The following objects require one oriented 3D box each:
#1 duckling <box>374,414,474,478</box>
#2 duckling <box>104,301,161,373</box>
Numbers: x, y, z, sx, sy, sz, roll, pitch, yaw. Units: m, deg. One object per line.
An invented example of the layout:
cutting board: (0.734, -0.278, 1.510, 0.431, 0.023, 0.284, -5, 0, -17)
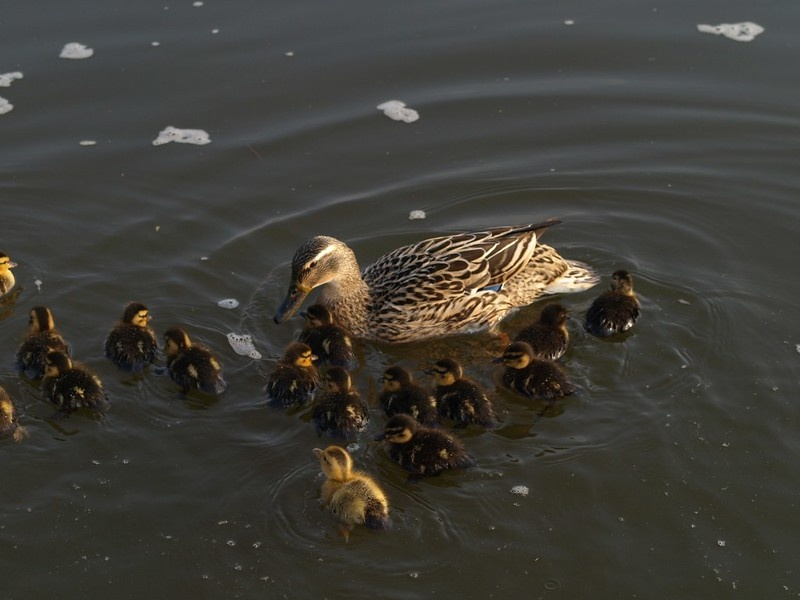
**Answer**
duckling: (0.210, 1.368, 8.725, 0.512, 0.379, 0.733, -38, 66, -15)
duckling: (-2.838, 0.374, 9.820, 0.566, 0.425, 0.593, 13, 47, -2)
